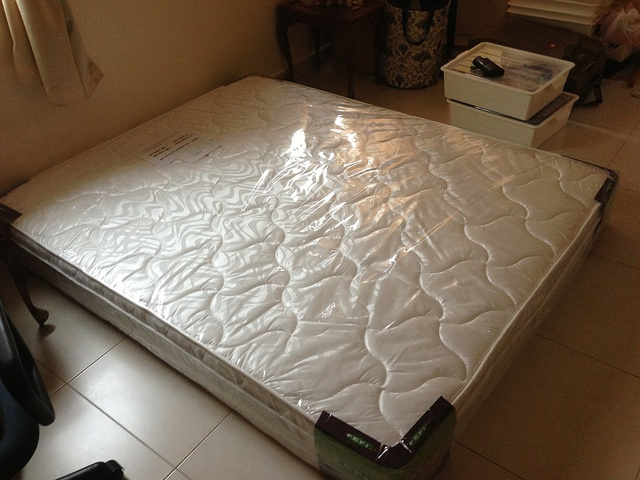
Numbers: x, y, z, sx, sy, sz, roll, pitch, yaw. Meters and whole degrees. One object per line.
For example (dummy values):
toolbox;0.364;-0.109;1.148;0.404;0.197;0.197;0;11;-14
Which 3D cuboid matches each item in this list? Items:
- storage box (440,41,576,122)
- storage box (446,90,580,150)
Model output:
storage box;1.013;-0.888;2.629;0.605;0.209;0.497;25;55;28
storage box;1.081;-0.655;2.751;0.526;0.178;0.445;26;52;28
